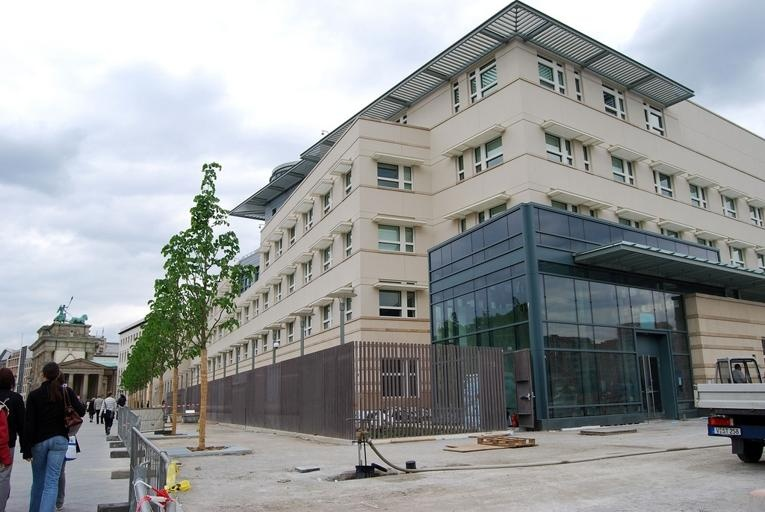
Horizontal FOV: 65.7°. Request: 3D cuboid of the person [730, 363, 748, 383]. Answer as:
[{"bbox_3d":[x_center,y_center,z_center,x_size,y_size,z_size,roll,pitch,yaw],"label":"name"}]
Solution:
[{"bbox_3d":[10.577,3.482,17.673,0.364,0.519,0.762,-6,-10,31],"label":"person"}]
